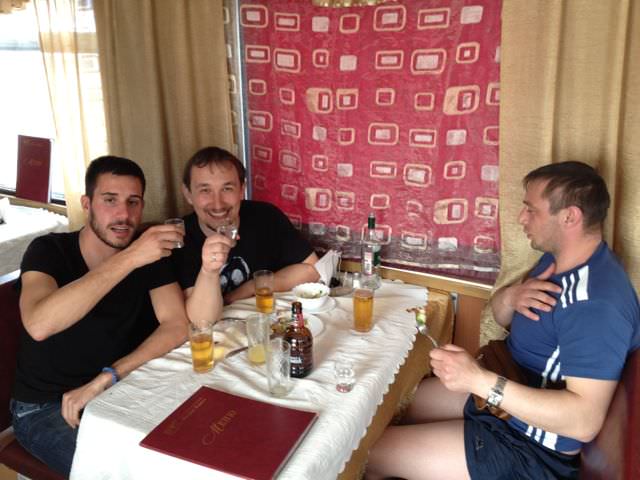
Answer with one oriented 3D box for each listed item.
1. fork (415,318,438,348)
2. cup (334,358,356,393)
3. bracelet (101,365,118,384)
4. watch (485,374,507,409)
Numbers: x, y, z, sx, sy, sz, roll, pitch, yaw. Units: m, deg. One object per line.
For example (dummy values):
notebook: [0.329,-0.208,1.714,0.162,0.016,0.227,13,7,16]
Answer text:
fork: [0.448,0.392,1.916,0.035,0.202,0.029,-35,31,9]
cup: [0.075,0.459,1.561,0.075,0.088,0.078,-1,17,0]
bracelet: [-0.757,0.486,1.654,0.063,0.023,0.053,40,1,21]
watch: [0.604,0.521,1.541,0.065,0.108,0.042,-8,17,-35]
